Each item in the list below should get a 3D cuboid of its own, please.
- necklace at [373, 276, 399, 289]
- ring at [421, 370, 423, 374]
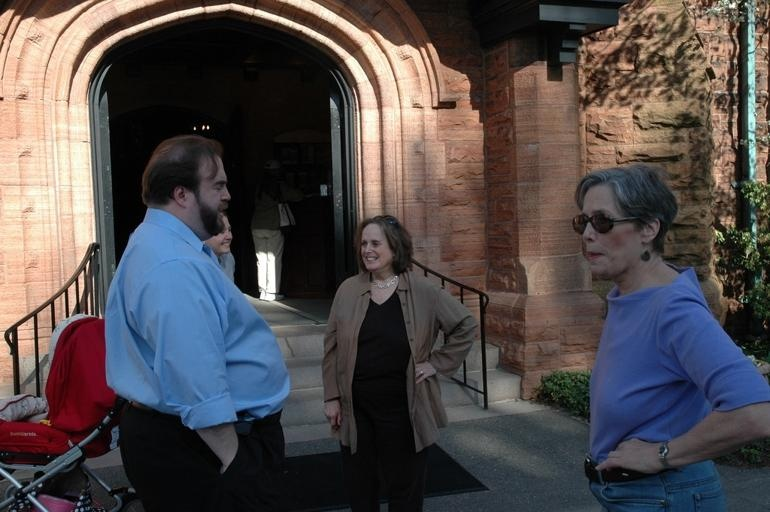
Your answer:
[{"bbox_3d":[0.022,0.182,4.105,0.145,0.077,0.015,-3,-24,1],"label":"necklace"},{"bbox_3d":[0.235,0.747,3.882,0.023,0.021,0.006,-4,-4,2],"label":"ring"}]
